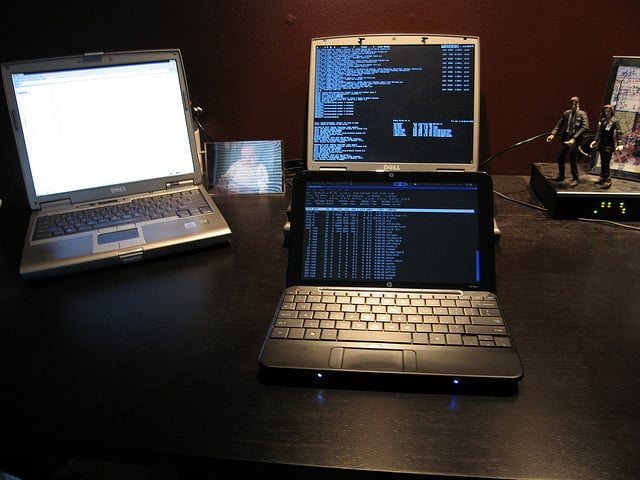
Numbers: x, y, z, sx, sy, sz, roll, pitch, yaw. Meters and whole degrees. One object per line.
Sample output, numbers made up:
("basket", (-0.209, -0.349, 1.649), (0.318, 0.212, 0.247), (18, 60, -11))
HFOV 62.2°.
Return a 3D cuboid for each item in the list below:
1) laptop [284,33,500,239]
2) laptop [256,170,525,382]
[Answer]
("laptop", (0.173, -0.279, 1.565), (0.644, 0.573, 0.478), (2, 24, 3))
("laptop", (0.139, 0.076, 1.023), (0.467, 0.257, 0.386), (2, 37, 4))
